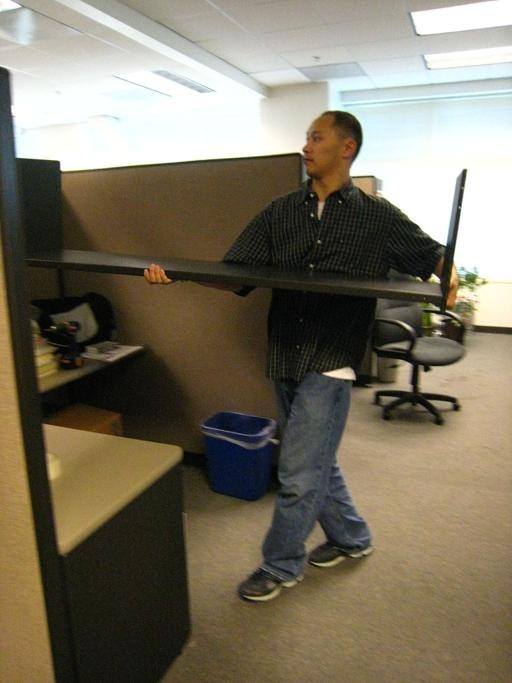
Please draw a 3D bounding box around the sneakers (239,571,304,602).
[{"bbox_3d":[0.048,0.716,1.680,0.183,0.070,0.078,-2,5,-34],"label":"sneakers"}]

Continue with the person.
[{"bbox_3d":[0.194,0.056,1.598,0.579,1.429,0.536,0,13,-4],"label":"person"}]

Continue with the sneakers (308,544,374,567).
[{"bbox_3d":[0.284,0.693,1.853,0.211,0.083,0.071,1,-2,-24],"label":"sneakers"}]

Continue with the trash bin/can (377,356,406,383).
[{"bbox_3d":[0.951,0.209,3.981,0.165,0.173,0.190,-1,5,-18],"label":"trash bin/can"}]

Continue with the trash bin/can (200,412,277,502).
[{"bbox_3d":[-0.061,0.471,2.224,0.363,0.263,0.213,2,5,23],"label":"trash bin/can"}]
